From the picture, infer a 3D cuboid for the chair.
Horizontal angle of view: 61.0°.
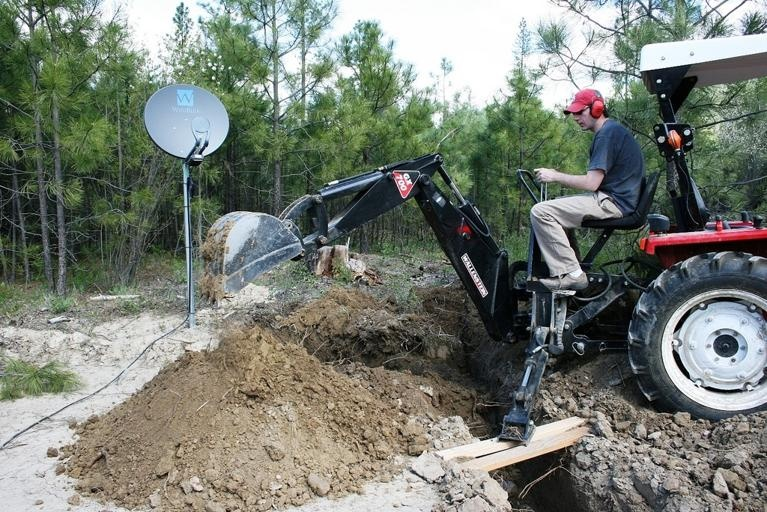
[{"bbox_3d":[3.197,-0.795,8.829,0.887,0.903,0.649,8,2,11],"label":"chair"}]
